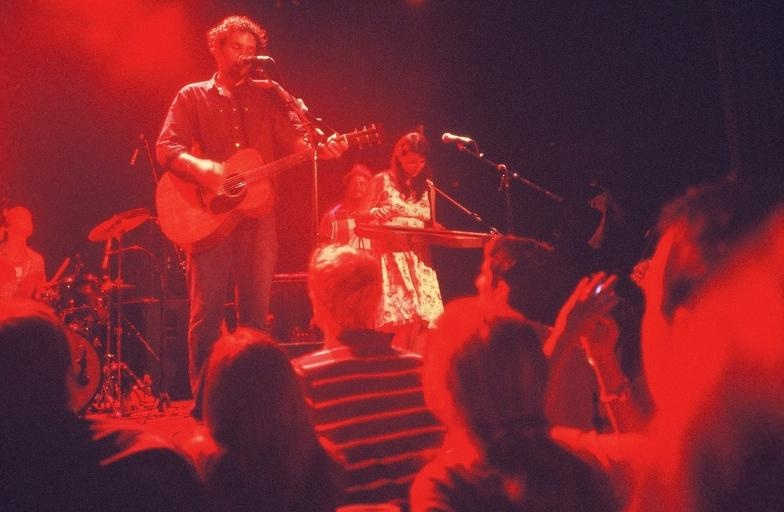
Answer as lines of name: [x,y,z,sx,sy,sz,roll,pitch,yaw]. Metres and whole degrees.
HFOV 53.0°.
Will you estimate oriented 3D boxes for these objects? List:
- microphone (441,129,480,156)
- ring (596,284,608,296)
microphone: [0.588,-0.889,6.380,0.180,0.101,0.344,24,12,30]
ring: [1.517,0.251,5.775,0.075,0.058,0.029,3,-17,-17]
